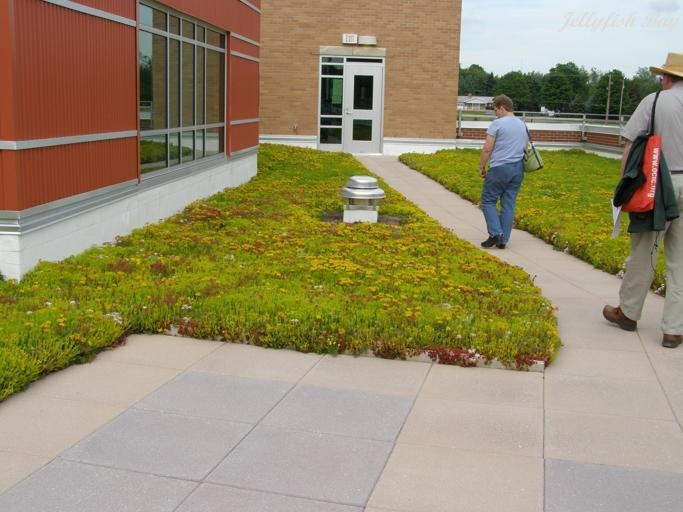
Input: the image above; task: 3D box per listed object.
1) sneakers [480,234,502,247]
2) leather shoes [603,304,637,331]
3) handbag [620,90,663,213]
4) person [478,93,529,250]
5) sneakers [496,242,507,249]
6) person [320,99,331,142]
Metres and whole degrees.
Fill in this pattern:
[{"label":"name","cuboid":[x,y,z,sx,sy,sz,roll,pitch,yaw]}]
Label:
[{"label":"sneakers","cuboid":[2.421,-0.221,9.508,0.358,0.174,0.128,-2,9,21]},{"label":"leather shoes","cuboid":[2.874,0.616,6.207,0.151,0.199,0.399,-6,26,-13]},{"label":"handbag","cuboid":[2.879,-0.756,5.640,0.284,0.731,0.284,4,18,10]},{"label":"person","cuboid":[2.609,-1.312,9.609,0.704,2.404,1.138,6,19,17]},{"label":"sneakers","cuboid":[2.549,-0.158,9.499,0.090,0.110,0.254,0,1,14]},{"label":"person","cuboid":[-0.618,-5.171,22.957,0.416,1.590,0.294,-1,18,-3]}]
